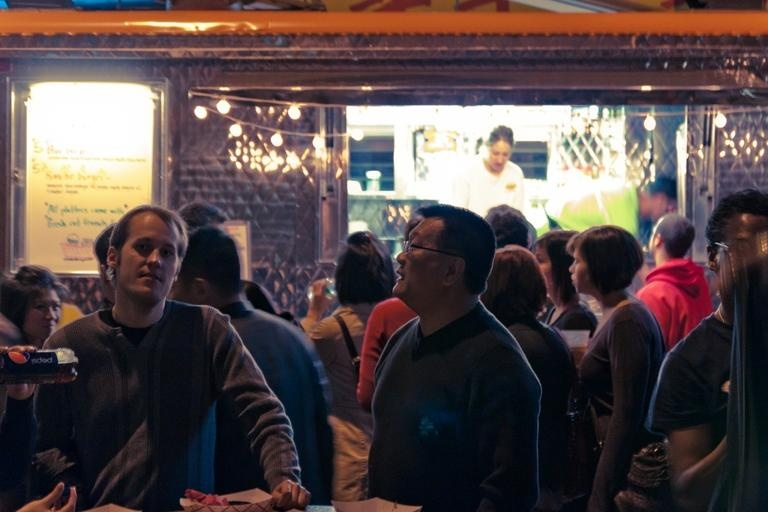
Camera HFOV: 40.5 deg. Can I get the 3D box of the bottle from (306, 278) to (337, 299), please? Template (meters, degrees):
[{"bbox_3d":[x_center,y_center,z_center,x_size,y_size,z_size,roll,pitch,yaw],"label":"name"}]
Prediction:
[{"bbox_3d":[-0.401,0.203,7.105,0.214,0.131,0.214,-5,4,0],"label":"bottle"}]
